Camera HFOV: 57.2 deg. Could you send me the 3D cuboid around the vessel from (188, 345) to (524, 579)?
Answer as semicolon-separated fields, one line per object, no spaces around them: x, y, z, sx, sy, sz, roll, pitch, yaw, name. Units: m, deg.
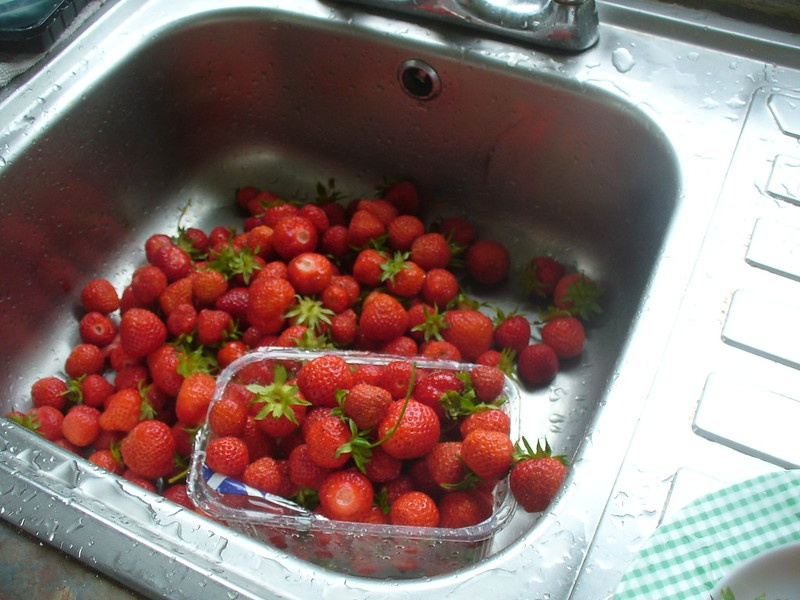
-0.060;0.179;0.960;0.440;0.178;0.336;11;63;5;vessel
